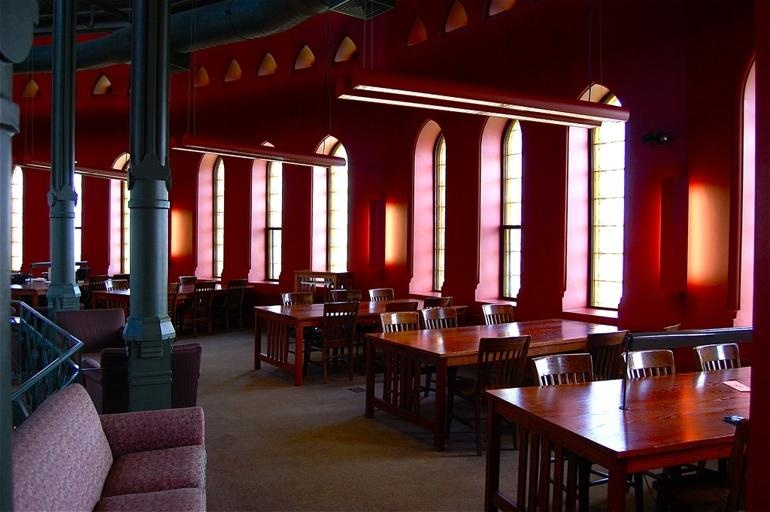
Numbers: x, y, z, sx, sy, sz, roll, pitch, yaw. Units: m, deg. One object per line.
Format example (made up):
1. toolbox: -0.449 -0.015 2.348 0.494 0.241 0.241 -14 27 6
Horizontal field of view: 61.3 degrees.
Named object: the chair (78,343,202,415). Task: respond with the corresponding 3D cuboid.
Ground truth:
1. chair: -2.362 1.166 6.278 0.701 0.920 0.871 0 3 -40
